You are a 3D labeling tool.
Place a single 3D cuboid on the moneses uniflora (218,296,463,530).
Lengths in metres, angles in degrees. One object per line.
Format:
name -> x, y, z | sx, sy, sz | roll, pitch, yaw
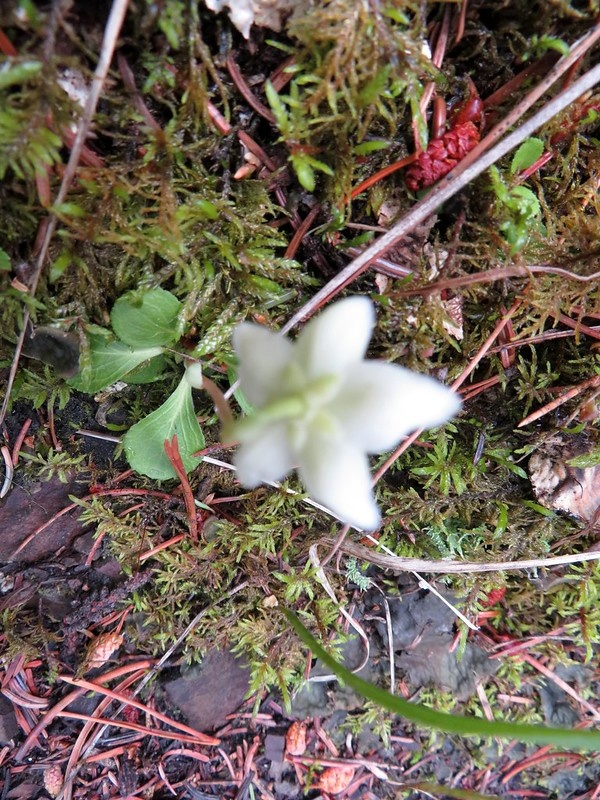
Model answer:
moneses uniflora -> 0.039, 0.002, 1.032 | 0.323, 0.301, 0.142 | 35, 7, -13
